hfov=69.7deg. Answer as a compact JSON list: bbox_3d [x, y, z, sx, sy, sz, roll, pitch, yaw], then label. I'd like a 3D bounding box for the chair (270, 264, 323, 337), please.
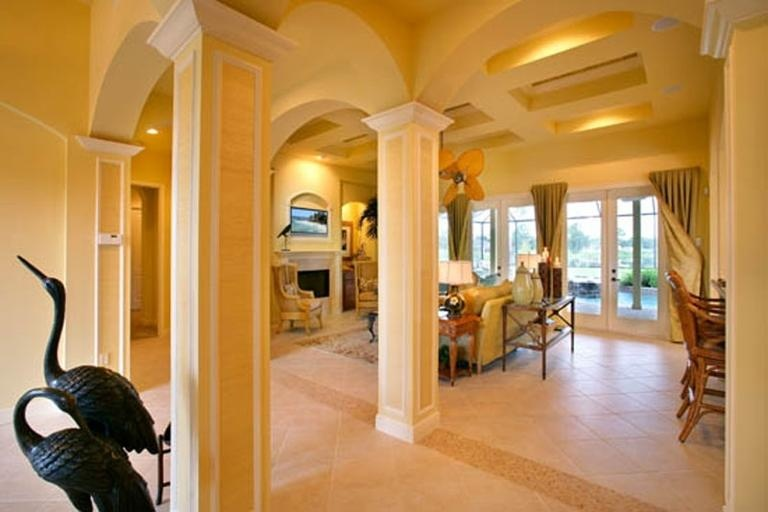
[{"bbox_3d":[-1.467,0.708,9.253,0.737,1.134,0.805,-2,0,6],"label":"chair"}]

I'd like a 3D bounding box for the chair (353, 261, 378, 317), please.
[{"bbox_3d":[-0.336,0.603,10.698,0.422,1.041,0.689,-2,0,-5],"label":"chair"}]

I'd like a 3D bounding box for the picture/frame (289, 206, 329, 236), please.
[{"bbox_3d":[-1.371,-0.627,10.232,0.076,0.546,0.985,-3,0,36],"label":"picture/frame"}]

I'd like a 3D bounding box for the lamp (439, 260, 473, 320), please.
[{"bbox_3d":[0.889,0.408,6.969,0.627,0.805,0.641,1,-3,4],"label":"lamp"}]

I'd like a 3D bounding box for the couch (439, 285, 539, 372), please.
[{"bbox_3d":[1.379,0.865,7.518,0.970,1.079,1.418,-1,-1,41],"label":"couch"}]
